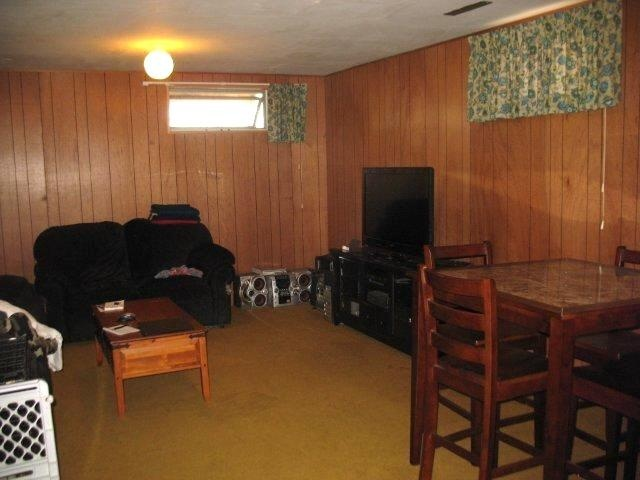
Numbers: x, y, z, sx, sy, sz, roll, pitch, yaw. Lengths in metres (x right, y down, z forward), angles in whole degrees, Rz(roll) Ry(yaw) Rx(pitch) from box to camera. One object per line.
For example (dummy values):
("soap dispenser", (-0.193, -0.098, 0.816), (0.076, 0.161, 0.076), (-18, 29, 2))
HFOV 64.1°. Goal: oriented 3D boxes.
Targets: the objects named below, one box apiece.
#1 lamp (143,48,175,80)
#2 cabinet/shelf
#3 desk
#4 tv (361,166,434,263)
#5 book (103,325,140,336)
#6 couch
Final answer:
("lamp", (-1.454, -1.588, 4.600), (0.227, 0.252, 0.215), (-3, 11, -8))
("cabinet/shelf", (0.638, 0.545, 4.898), (0.476, 0.785, 1.313), (-7, 10, -31))
("desk", (-1.198, 0.982, 4.113), (0.676, 0.421, 1.165), (-6, -8, -13))
("tv", (0.714, -0.284, 4.833), (0.139, 0.813, 1.127), (-6, 12, -24))
("book", (-1.409, 0.641, 3.642), (0.271, 0.024, 0.155), (5, 12, 30))
("couch", (-1.946, 0.387, 5.371), (1.928, 1.001, 0.970), (-3, 14, -31))
